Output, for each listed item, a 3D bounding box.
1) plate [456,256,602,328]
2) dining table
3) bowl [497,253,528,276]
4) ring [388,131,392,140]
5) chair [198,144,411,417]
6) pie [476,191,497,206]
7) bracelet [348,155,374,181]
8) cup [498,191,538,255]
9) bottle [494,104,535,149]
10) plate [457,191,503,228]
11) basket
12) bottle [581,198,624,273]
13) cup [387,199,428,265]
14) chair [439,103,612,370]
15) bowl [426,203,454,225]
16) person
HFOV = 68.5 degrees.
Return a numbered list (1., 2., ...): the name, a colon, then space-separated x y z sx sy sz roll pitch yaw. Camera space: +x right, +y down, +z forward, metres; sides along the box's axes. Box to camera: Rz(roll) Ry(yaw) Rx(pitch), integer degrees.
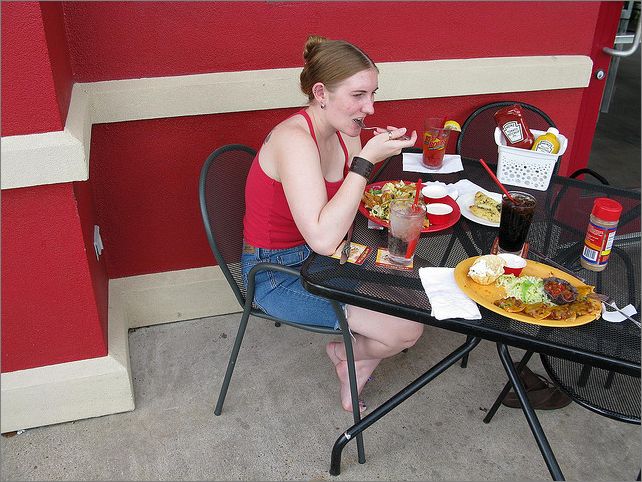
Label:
1. plate: 0.567 0.135 1.306 0.372 0.053 0.266 2 35 3
2. dining table: 0.506 0.274 1.625 0.692 0.685 0.920 15 39 17
3. bowl: 0.560 0.068 1.365 0.067 0.033 0.070 -1 36 1
4. ring: 0.236 -0.356 1.596 0.015 0.006 0.023 0 73 -5
5. chair: -0.045 -0.079 2.263 0.887 1.406 0.870 9 42 10
6. pie: 0.589 -0.147 1.685 0.076 0.021 0.039 36 68 24
7. bracelet: 0.135 -0.241 1.554 0.084 0.064 0.092 20 0 -30
8. cup: 0.616 -0.050 1.490 0.111 0.181 0.106 -1 25 0
9. bottle: 0.780 -0.472 1.906 0.120 0.205 0.067 -27 1 16
10. plate: 0.558 -0.107 1.642 0.131 0.019 0.138 4 48 1
11. basket: 0.839 -0.311 1.901 0.235 0.179 0.196 12 20 21
12. bottle: 0.856 -0.032 1.424 0.088 0.184 0.185 21 40 30
13. cup: 0.245 -0.025 1.441 0.114 0.207 0.135 2 25 -2
14. chair: 0.933 -0.128 2.100 0.351 0.910 0.389 13 70 45
15. bowl: 0.405 -0.095 1.597 0.079 0.045 0.084 0 37 0
16. person: 0.063 -0.010 1.869 0.774 1.480 0.646 11 16 29
